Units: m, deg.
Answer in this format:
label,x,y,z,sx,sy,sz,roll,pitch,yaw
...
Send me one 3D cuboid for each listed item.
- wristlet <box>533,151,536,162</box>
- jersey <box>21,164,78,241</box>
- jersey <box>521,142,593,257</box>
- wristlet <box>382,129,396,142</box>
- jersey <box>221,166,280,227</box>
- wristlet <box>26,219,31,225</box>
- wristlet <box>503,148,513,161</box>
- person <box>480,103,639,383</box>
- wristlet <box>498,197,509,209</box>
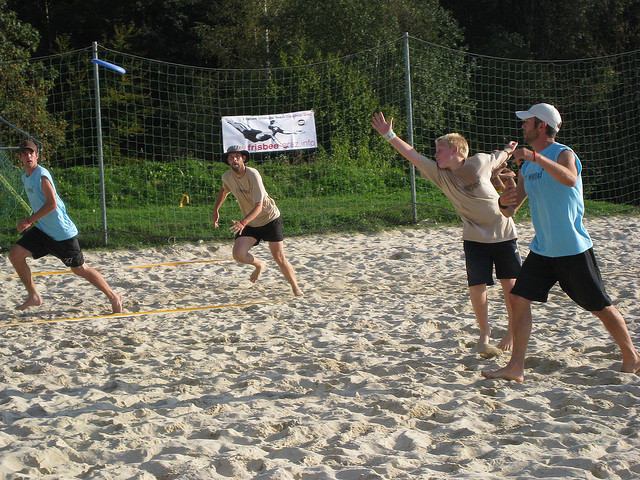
label,x,y,z,sx,sy,sz,roll,pitch,yaw
wristlet,1.599,-0.613,5.383,0.021,0.075,0.094,2,15,17
jersey,-2.848,-0.384,7.548,0.469,0.758,0.373,11,20,42
jersey,1.817,-0.233,5.580,0.540,0.704,0.320,2,16,18
wristlet,0.582,-0.867,6.059,0.087,0.063,0.088,-40,9,-34
jersey,-0.775,-0.461,7.936,0.611,0.661,0.427,-2,15,2
wristlet,-2.919,-0.183,7.234,0.047,0.011,0.045,41,2,25
wristlet,1.668,-0.755,6.383,0.042,0.093,0.084,-7,42,-27
person,1.883,0.033,5.664,1.166,2.154,0.677,2,16,17
wristlet,1.450,-0.283,5.697,0.022,0.068,0.070,-19,29,26
